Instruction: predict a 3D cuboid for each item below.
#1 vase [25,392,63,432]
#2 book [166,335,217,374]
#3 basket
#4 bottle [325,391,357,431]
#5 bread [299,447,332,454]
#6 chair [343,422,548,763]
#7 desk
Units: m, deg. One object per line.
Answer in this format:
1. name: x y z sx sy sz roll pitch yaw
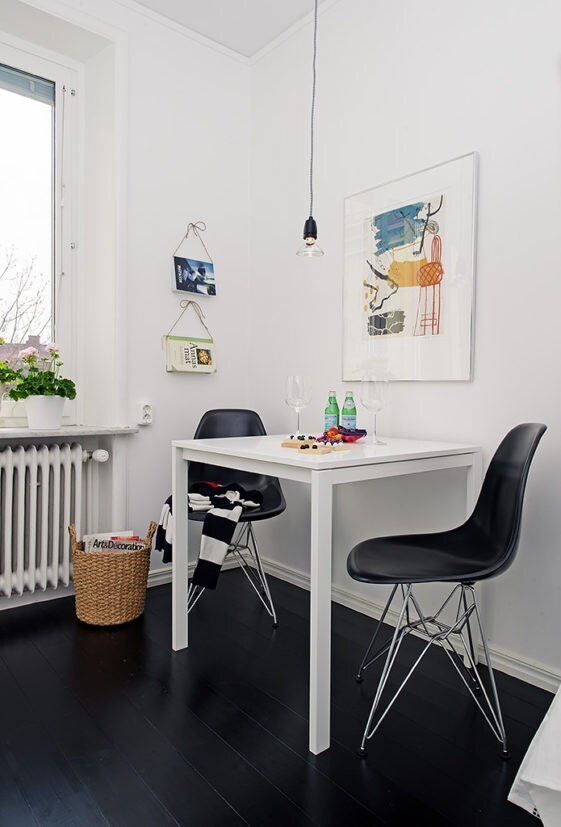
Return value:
1. vase: -0.931 -0.007 2.296 0.120 0.112 0.132 0 -2 34
2. book: -0.420 -0.282 2.727 0.065 0.167 0.268 1 1 41
3. basket: -0.615 0.600 2.200 0.294 0.371 0.188 -4 -1 -35
4. bottle: 0.219 -0.007 2.090 0.124 0.213 0.071 2 3 12
5. bread: 0.093 0.101 1.554 0.083 0.015 0.064 1 1 2
6. chair: 0.416 0.418 1.546 0.457 0.814 0.454 2 3 15
7. desk: 0.114 0.351 1.843 0.724 0.876 0.777 1 -1 -30
